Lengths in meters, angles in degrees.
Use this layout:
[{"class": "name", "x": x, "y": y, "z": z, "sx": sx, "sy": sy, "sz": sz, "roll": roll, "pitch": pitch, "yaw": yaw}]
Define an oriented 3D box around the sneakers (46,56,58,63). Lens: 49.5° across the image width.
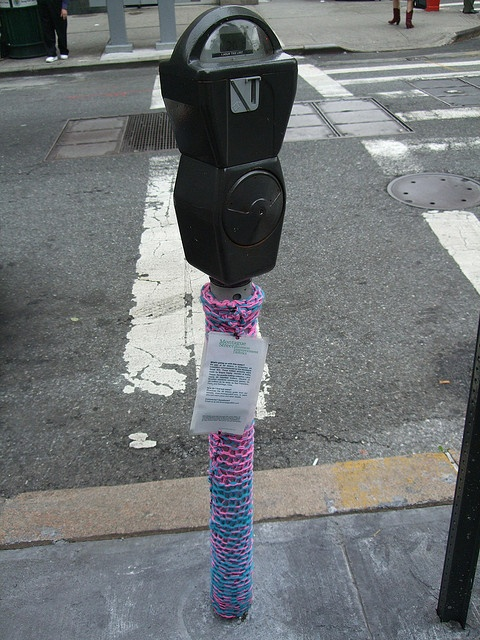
[{"class": "sneakers", "x": -4.725, "y": -6.560, "z": 13.063, "sx": 0.142, "sy": 0.139, "sz": 0.378, "roll": 6, "pitch": 15, "yaw": 23}]
